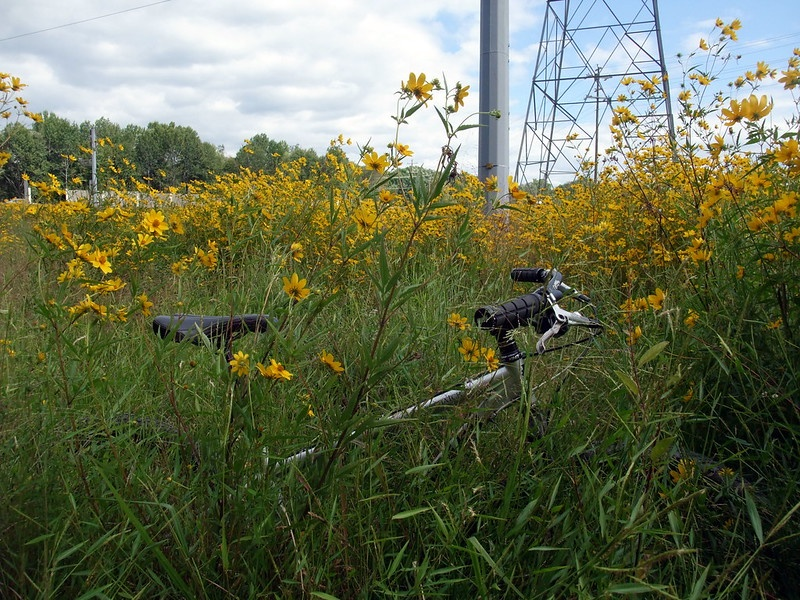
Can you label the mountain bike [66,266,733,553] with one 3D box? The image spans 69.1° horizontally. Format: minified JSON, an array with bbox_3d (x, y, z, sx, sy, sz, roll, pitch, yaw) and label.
[{"bbox_3d":[0.002,0.107,1.901,1.254,0.736,0.817,-10,31,-13],"label":"mountain bike"}]
